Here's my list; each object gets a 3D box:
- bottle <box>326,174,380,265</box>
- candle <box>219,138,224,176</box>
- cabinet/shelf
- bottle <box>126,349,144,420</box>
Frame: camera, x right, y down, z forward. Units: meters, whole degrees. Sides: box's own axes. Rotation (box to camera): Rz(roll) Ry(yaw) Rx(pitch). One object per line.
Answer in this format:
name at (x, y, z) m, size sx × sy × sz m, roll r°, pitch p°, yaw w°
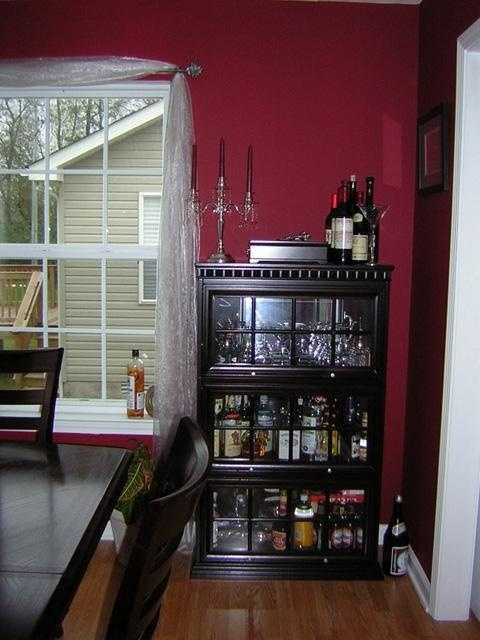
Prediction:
bottle at (0.484, -0.416, 2.304) m, size 0.237 × 0.367 × 0.168 m, roll 0°, pitch 5°, yaw -6°
candle at (-0.072, -0.621, 2.133) m, size 0.014 × 0.139 × 0.049 m, roll 2°, pitch 5°, yaw 12°
cabinet/shelf at (0.206, 0.342, 2.525) m, size 0.769 × 1.612 × 0.502 m, roll -1°, pitch 28°, yaw -1°
bottle at (-0.511, 0.299, 2.707) m, size 0.083 × 0.325 × 0.143 m, roll 0°, pitch 5°, yaw -12°
